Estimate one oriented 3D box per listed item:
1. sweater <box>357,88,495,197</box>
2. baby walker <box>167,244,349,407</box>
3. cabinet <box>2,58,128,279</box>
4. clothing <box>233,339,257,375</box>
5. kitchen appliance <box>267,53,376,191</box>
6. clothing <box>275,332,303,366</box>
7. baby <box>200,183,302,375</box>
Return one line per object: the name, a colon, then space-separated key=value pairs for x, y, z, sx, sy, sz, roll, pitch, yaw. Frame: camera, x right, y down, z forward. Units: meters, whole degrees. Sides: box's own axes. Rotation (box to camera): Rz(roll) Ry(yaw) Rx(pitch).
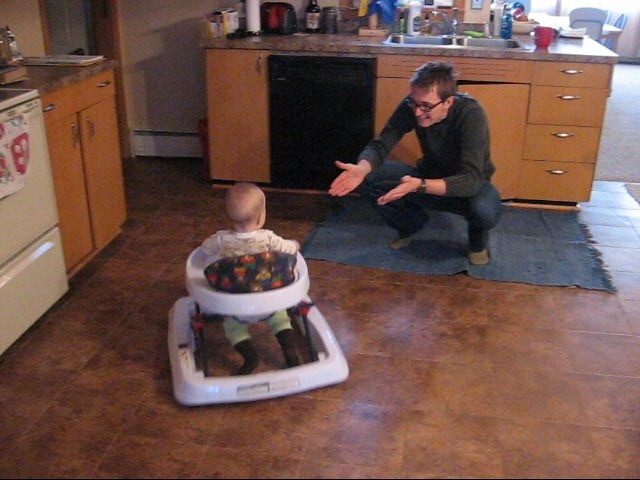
sweater: x=0.645 y=-0.527 z=2.988 sx=0.804 sy=0.568 sz=0.462 roll=4 pitch=25 yaw=6
baby walker: x=-0.357 y=0.209 z=2.256 sx=0.912 sy=0.581 sz=0.719 roll=-2 pitch=25 yaw=-17
cabinet: x=-1.250 y=-0.396 z=2.808 sx=0.640 sy=1.011 sz=0.823 roll=0 pitch=26 yaw=-6
clothing: x=-0.293 y=0.469 z=2.090 sx=0.114 sy=0.129 sz=0.048 roll=1 pitch=6 yaw=-4
kitchen appliance: x=-0.023 y=-0.942 z=3.908 sx=0.872 sy=0.788 sz=0.718 roll=3 pitch=26 yaw=1
clothing: x=-0.117 y=0.448 z=2.133 sx=0.068 sy=0.200 sz=0.080 roll=-13 pitch=33 yaw=0
baby: x=-0.270 y=0.166 z=2.057 sx=0.373 sy=0.807 sz=0.313 roll=-3 pitch=29 yaw=-4
